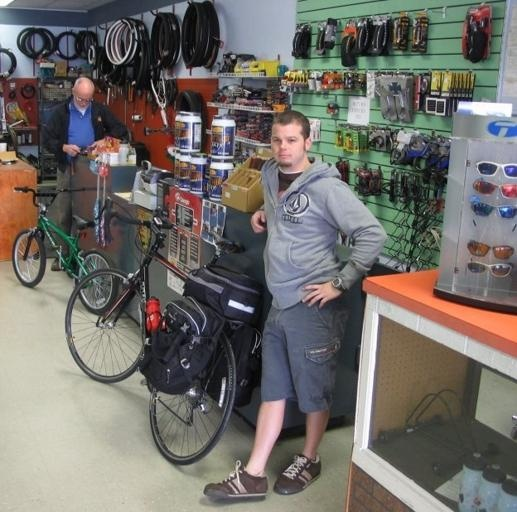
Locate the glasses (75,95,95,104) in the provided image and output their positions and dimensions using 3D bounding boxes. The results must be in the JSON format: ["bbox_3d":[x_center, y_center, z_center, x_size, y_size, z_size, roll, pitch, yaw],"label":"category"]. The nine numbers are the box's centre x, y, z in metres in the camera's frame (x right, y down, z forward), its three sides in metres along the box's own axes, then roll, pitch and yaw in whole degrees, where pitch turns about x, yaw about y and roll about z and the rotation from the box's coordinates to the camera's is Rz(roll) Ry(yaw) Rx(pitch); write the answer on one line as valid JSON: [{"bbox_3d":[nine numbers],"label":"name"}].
[{"bbox_3d":[-1.957,-1.732,5.124,0.220,0.096,0.255,-6,16,-29],"label":"glasses"}]

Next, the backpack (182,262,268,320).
[{"bbox_3d":[-0.166,0.200,2.426,0.344,0.182,0.266,29,8,15],"label":"backpack"}]

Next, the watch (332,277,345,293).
[{"bbox_3d":[0.347,0.125,1.977,0.061,0.067,0.031,5,13,11],"label":"watch"}]

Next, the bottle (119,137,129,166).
[{"bbox_3d":[-1.373,-1.044,4.651,0.095,0.204,0.404,-2,14,-15],"label":"bottle"}]

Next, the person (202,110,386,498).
[{"bbox_3d":[0.157,0.258,2.219,0.741,1.852,0.548,2,12,1],"label":"person"}]

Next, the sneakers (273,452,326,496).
[{"bbox_3d":[0.212,1.084,2.352,0.108,0.127,0.290,9,12,37],"label":"sneakers"}]

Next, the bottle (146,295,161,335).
[{"bbox_3d":[-0.616,0.351,2.652,0.071,0.153,0.190,0,26,-17],"label":"bottle"}]

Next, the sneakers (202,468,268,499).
[{"bbox_3d":[-0.102,1.081,2.236,0.332,0.179,0.130,3,-8,-5],"label":"sneakers"}]

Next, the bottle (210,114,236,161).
[{"bbox_3d":[-0.228,-0.772,2.976,0.203,0.342,0.216,1,6,0],"label":"bottle"}]
